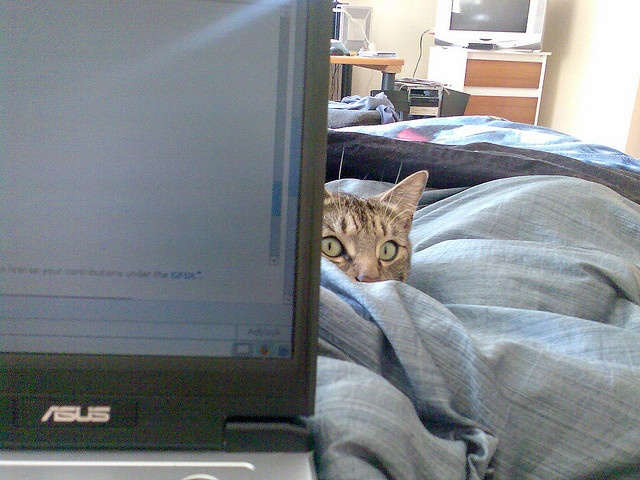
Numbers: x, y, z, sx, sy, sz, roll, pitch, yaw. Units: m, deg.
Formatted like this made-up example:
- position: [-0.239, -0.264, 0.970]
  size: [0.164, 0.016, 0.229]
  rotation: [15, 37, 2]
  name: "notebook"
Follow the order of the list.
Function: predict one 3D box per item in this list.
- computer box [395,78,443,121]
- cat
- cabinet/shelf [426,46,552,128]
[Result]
- position: [0.465, -0.650, 3.932]
  size: [0.183, 0.166, 0.243]
  rotation: [1, 18, 2]
  name: "computer box"
- position: [0.067, -0.007, 1.106]
  size: [0.129, 0.115, 0.164]
  rotation: [2, 4, -21]
  name: "cat"
- position: [0.876, -0.730, 4.427]
  size: [0.529, 0.436, 0.403]
  rotation: [-2, 12, -18]
  name: "cabinet/shelf"
